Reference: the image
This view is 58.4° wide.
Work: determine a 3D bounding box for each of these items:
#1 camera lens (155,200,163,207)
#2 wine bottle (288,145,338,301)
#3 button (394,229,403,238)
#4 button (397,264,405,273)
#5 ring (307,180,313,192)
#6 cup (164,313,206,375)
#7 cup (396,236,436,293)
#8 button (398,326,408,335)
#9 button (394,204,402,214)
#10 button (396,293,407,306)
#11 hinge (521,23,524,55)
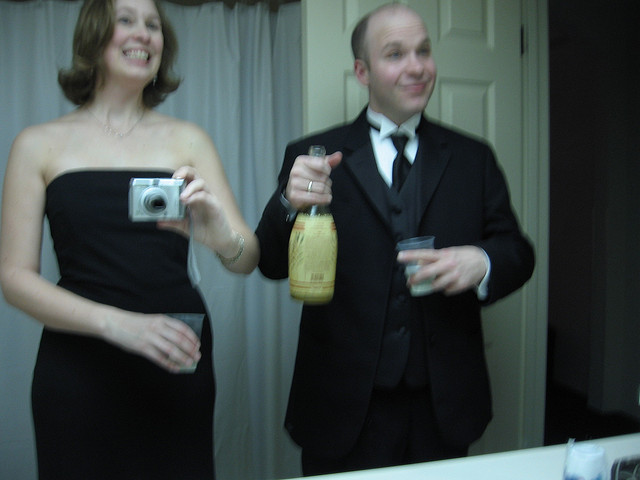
[{"bbox_3d":[-0.381,-0.086,1.352,0.019,0.012,0.013,2,5,-3],"label":"camera lens"},{"bbox_3d":[-0.011,-0.047,1.478,0.105,0.400,0.110,1,-3,0],"label":"wine bottle"},{"bbox_3d":[0.208,-0.016,1.518,0.017,0.020,0.005,-6,-6,0],"label":"button"},{"bbox_3d":[0.213,0.075,1.504,0.019,0.018,0.006,-3,1,17],"label":"button"},{"bbox_3d":[-0.024,-0.129,1.384,0.004,0.020,0.020,13,6,1],"label":"ring"},{"bbox_3d":[-0.335,0.249,1.487,0.122,0.194,0.154,1,-4,-13],"label":"cup"},{"bbox_3d":[0.238,0.060,1.445,0.106,0.136,0.115,-5,1,0],"label":"cup"},{"bbox_3d":[0.217,0.236,1.495,0.025,0.018,0.003,-4,1,-4],"label":"button"},{"bbox_3d":[0.208,-0.082,1.519,0.016,0.018,0.016,-17,-9,23],"label":"button"},{"bbox_3d":[0.213,0.156,1.500,0.025,0.029,0.006,-1,3,-8],"label":"button"},{"bbox_3d":[0.634,-0.627,1.788,0.011,0.069,0.004,-2,1,21],"label":"hinge"}]
